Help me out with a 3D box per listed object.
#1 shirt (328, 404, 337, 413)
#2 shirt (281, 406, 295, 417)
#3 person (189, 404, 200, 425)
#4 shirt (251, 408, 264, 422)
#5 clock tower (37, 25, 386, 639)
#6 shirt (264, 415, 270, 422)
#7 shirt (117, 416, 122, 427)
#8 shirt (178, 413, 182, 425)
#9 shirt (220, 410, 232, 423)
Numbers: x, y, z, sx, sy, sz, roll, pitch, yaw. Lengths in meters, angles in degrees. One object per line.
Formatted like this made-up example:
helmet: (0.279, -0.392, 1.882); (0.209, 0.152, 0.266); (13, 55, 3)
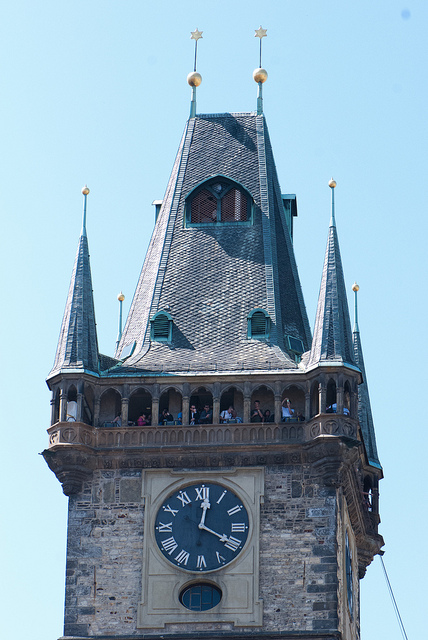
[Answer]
shirt: (2.902, 2.172, 50.885); (0.206, 0.254, 0.128); (0, -22, 4)
shirt: (1.764, 2.293, 51.367); (0.220, 0.243, 0.147); (1, -53, 6)
person: (-0.526, 2.388, 51.750); (0.317, 0.802, 0.285); (-2, -56, -3)
shirt: (1.079, 2.412, 51.428); (0.316, 0.452, 0.241); (1, -38, 3)
clock tower: (0.090, -0.511, 55.021); (7.640, 20.988, 5.256); (0, -31, 5)
shirt: (1.285, 2.468, 51.302); (0.139, 0.164, 0.086); (0, -30, 6)
shirt: (-2.415, 2.559, 51.843); (0.138, 0.121, 0.313); (19, -8, -1)
shirt: (-0.886, 2.486, 51.679); (0.161, 0.278, 0.066); (-1, -2, 25)
shirt: (0.286, 2.387, 51.576); (0.320, 0.418, 0.208); (2, -10, -4)
